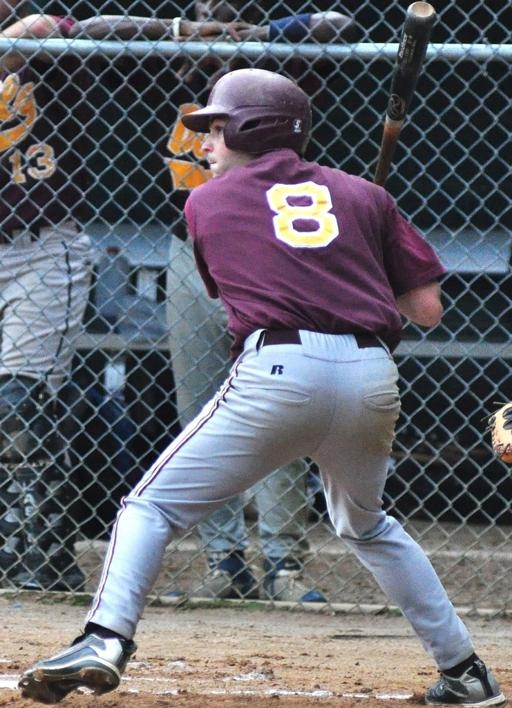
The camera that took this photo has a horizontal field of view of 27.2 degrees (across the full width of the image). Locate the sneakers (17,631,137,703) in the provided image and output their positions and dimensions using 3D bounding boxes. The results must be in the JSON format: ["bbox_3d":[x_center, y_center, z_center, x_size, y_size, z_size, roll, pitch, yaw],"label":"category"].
[{"bbox_3d":[-0.334,0.708,2.397,0.334,0.100,0.146,-7,30,9],"label":"sneakers"}]

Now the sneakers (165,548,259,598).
[{"bbox_3d":[-0.152,0.801,3.875,0.288,0.082,0.187,-10,-8,31],"label":"sneakers"}]

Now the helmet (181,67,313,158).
[{"bbox_3d":[-0.034,-0.635,2.806,0.348,0.201,0.321,6,11,26],"label":"helmet"}]

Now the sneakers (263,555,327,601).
[{"bbox_3d":[0.117,0.813,3.818,0.261,0.135,0.195,3,77,-4],"label":"sneakers"}]

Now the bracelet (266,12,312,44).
[{"bbox_3d":[0.129,-1.172,3.822,0.210,0.077,0.092,-5,83,10],"label":"bracelet"}]
